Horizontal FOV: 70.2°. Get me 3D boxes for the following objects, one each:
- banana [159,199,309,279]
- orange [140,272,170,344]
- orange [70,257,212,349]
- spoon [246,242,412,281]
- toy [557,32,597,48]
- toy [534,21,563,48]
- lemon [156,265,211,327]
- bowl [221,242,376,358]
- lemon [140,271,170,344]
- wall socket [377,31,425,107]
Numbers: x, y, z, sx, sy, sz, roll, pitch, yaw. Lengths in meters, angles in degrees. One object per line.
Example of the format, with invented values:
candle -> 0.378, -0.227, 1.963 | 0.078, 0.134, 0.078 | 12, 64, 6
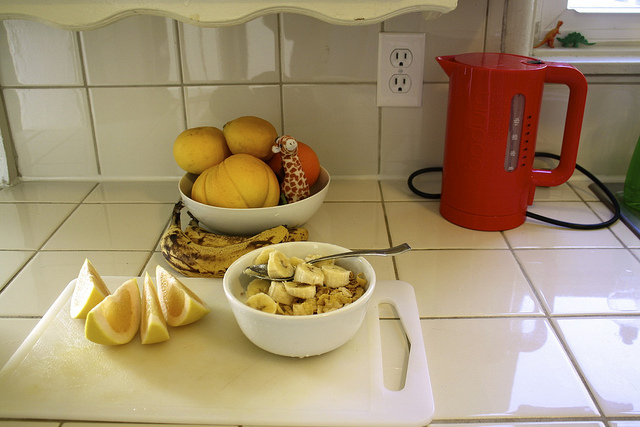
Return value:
banana -> -0.161, 0.034, 0.875 | 0.306, 0.202, 0.105 | -11, -10, 26
orange -> -0.287, 0.157, 0.772 | 0.047, 0.065, 0.186 | -10, 26, -22
orange -> -0.294, 0.153, 0.733 | 0.142, 0.066, 0.158 | -9, 12, 12
spoon -> 0.013, 0.083, 0.754 | 0.280, 0.035, 0.057 | -6, 9, -4
toy -> 0.629, -0.432, 1.130 | 0.094, 0.041, 0.029 | 5, 12, 4
toy -> 0.572, -0.446, 1.127 | 0.069, 0.059, 0.025 | -10, 32, -16
lemon -> -0.220, 0.139, 0.763 | 0.071, 0.055, 0.136 | -16, 30, -31
bowl -> -0.027, 0.130, 0.741 | 0.227, 0.110, 0.206 | 12, 33, 19
lemon -> -0.284, 0.157, 0.767 | 0.046, 0.060, 0.178 | -12, 29, -20
wall socket -> 0.198, -0.347, 1.104 | 0.114, 0.178, 0.020 | 4, 30, 11
